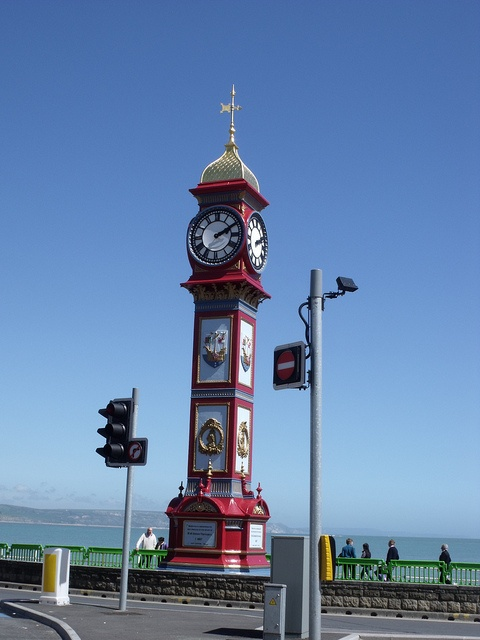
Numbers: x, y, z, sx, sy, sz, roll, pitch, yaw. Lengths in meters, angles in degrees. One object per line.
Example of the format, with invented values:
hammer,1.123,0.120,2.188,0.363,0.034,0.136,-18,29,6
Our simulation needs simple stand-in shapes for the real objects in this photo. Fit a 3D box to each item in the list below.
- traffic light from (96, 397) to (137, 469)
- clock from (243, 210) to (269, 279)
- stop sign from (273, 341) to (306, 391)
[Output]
traffic light,-2.314,2.045,17.387,0.657,1.362,0.585,7,-17,-19
clock,0.596,-2.727,31.806,0.184,2.284,1.829,-4,-18,17
stop sign,0.716,0.673,13.687,0.232,0.756,0.711,12,-20,-33
